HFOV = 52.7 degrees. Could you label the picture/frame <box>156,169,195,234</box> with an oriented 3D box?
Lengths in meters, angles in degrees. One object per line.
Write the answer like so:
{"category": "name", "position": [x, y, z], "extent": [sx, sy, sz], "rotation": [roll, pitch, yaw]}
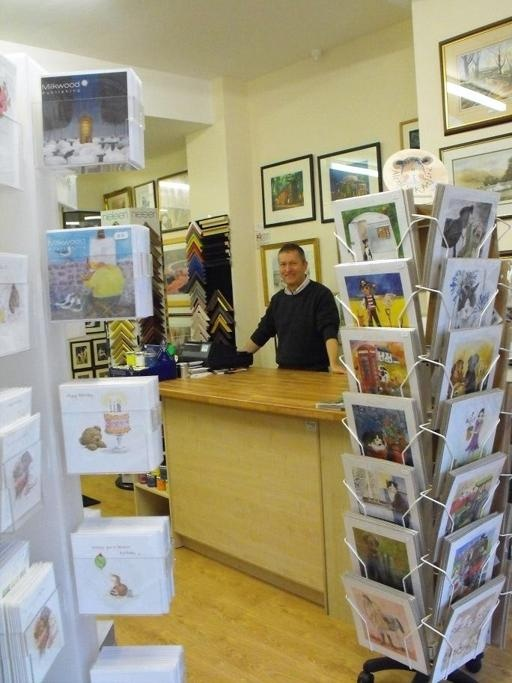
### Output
{"category": "picture/frame", "position": [-0.854, -1.507, 5.552], "extent": [0.063, 0.869, 0.812], "rotation": [-9, 15, -40]}

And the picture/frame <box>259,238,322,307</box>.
{"category": "picture/frame", "position": [0.295, -0.576, 4.188], "extent": [0.046, 0.677, 0.673], "rotation": [-7, 8, -41]}

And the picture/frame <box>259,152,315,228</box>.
{"category": "picture/frame", "position": [0.300, -1.368, 4.640], "extent": [0.712, 0.722, 0.028], "rotation": [6, 12, 44]}

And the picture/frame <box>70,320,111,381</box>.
{"category": "picture/frame", "position": [-1.655, 0.090, 5.127], "extent": [0.047, 0.686, 0.584], "rotation": [4, 9, 28]}
